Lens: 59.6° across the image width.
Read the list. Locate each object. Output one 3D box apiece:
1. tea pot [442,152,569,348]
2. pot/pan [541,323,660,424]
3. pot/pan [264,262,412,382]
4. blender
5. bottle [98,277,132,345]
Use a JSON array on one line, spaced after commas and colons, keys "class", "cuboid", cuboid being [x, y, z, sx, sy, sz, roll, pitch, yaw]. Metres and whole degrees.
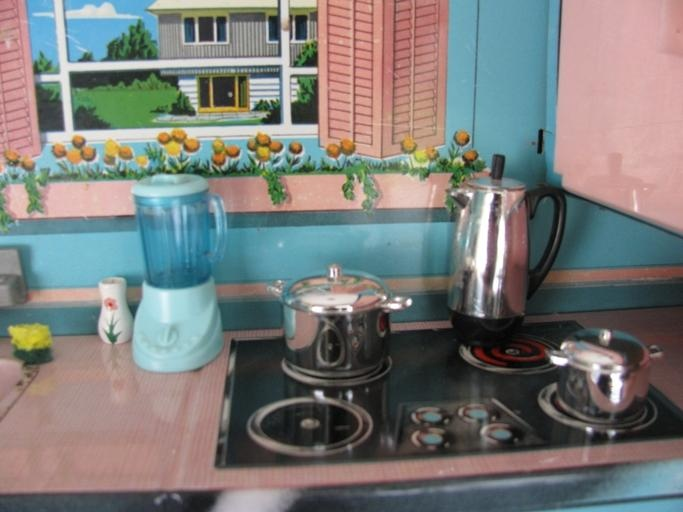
[{"class": "tea pot", "cuboid": [0.405, 0.007, 1.574, 0.262, 0.511, 0.253, 4, 22, -1]}, {"class": "pot/pan", "cuboid": [0.568, 0.251, 1.306, 0.173, 0.172, 0.172, -20, 26, -40]}, {"class": "pot/pan", "cuboid": [0.013, 0.145, 1.517, 0.310, 0.274, 0.328, 9, 21, 21]}, {"class": "blender", "cuboid": [-0.406, 0.043, 1.518, 0.254, 0.449, 0.296, 0, 10, 10]}, {"class": "bottle", "cuboid": [-0.588, 0.143, 1.580, 0.105, 0.165, 0.105, 4, 13, -1]}]
